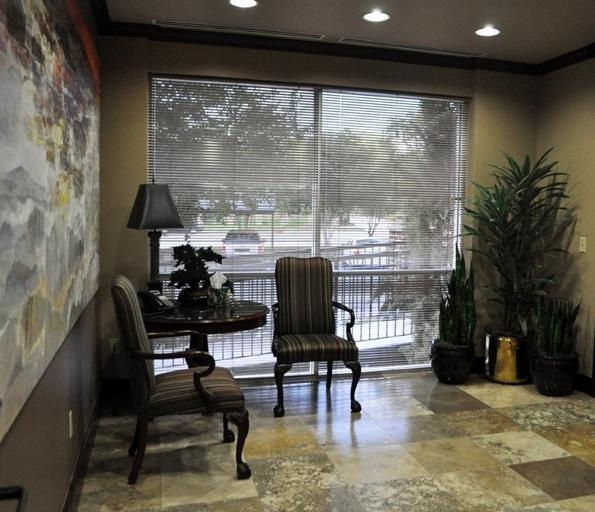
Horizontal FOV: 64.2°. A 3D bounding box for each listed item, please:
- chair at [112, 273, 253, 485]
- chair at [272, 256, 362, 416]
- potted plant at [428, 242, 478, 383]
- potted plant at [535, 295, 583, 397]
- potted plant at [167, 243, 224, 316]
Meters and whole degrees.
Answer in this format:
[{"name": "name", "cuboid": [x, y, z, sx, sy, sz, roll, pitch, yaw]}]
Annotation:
[{"name": "chair", "cuboid": [-0.693, 0.703, 2.839, 0.768, 1.156, 0.535, -1, 5, -15]}, {"name": "chair", "cuboid": [0.140, 0.620, 3.918, 0.711, 1.174, 0.710, 0, 5, -4]}, {"name": "potted plant", "cuboid": [1.455, 0.554, 4.388, 0.322, 1.242, 0.413, 5, 6, 41]}, {"name": "potted plant", "cuboid": [2.309, 0.793, 4.230, 0.491, 0.817, 0.354, -4, 7, -43]}, {"name": "potted plant", "cuboid": [-0.801, 0.167, 3.614, 0.483, 0.482, 0.456, 1, 3, 21]}]
